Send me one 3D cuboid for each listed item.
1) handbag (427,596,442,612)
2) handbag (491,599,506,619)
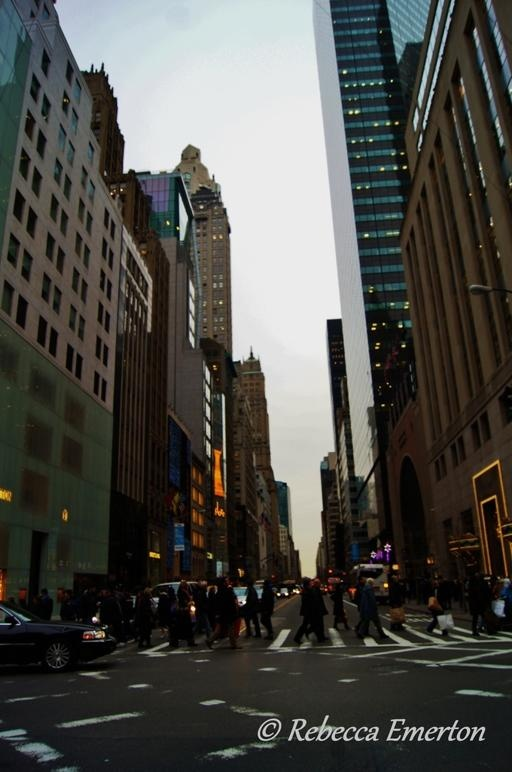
[{"bbox_3d":[6.117,7.406,17.431,0.360,0.413,0.596,-9,-22,15],"label":"handbag"},{"bbox_3d":[7.666,6.945,16.036,0.266,0.623,0.540,2,-49,4],"label":"handbag"}]
